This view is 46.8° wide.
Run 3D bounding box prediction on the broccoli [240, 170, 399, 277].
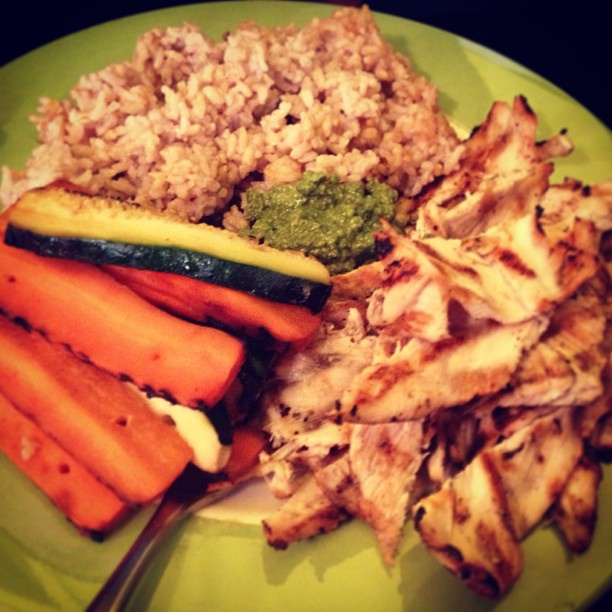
[{"bbox_3d":[0.026,-0.203,1.750,0.358,0.093,0.264,-4,59,-10],"label":"broccoli"}]
